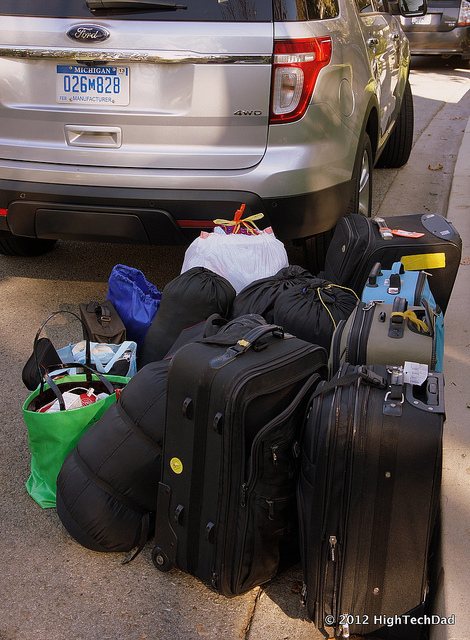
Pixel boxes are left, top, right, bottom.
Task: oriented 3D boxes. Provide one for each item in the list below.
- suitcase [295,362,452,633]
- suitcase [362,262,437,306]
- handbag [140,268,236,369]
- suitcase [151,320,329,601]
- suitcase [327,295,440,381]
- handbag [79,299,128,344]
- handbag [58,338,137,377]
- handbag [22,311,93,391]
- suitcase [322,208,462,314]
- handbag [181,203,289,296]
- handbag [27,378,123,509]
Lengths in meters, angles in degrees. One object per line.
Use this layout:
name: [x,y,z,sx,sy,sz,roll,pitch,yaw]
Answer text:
suitcase: [0.316,0.412,1.317,0.307,0.571,0.402,5,34,8]
suitcase: [0.606,-0.142,2.000,0.187,0.245,0.253,8,13,19]
handbag: [-0.174,-0.005,2.031,0.299,0.317,0.165,28,22,5]
suitcase: [0.028,0.370,1.540,0.398,0.659,0.467,11,17,29]
suitcase: [0.457,0.086,1.723,0.327,0.314,0.248,6,35,16]
handbag: [-0.603,0.053,2.453,0.153,0.262,0.276,-5,34,-26]
handbag: [-0.540,0.114,2.126,0.240,0.092,0.185,3,8,6]
handbag: [-0.716,0.172,2.186,0.190,0.230,0.344,-38,52,-7]
suitcase: [0.712,-0.251,2.614,0.645,0.483,0.458,2,26,8]
handbag: [0.018,-0.333,2.521,0.462,0.423,0.263,-8,28,-14]
handbag: [-0.555,0.380,1.921,0.226,0.447,0.396,15,22,27]
